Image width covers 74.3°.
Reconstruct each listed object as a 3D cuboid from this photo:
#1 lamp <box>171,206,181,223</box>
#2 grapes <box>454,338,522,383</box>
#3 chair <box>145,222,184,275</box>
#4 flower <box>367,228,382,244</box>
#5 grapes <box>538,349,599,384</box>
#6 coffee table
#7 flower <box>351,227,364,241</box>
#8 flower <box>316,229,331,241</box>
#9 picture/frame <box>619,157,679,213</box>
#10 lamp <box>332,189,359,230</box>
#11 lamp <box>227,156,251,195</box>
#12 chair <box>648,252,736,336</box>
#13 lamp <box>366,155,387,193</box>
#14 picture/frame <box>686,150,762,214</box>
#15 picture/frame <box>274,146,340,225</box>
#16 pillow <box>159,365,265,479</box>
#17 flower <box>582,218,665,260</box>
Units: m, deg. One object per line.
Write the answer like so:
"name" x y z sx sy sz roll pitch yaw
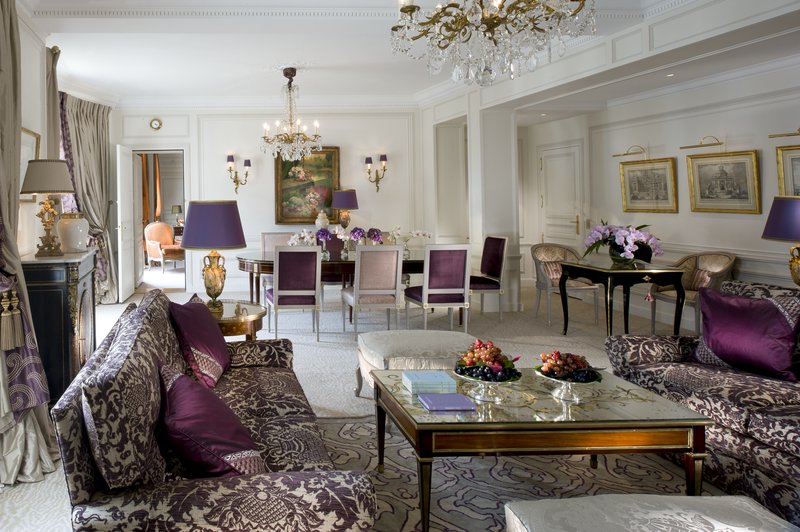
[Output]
"lamp" -5.670 -1.346 13.533 0.234 0.458 0.752 -4 6 -23
"grapes" 0.585 0.572 3.294 0.298 0.147 0.295 -1 -9 36
"chair" -5.371 -0.450 12.004 0.745 1.112 1.957 -4 6 -26
"flower" -0.315 -0.390 6.889 0.256 0.109 0.250 1 -8 1
"grapes" 1.021 0.606 3.154 0.252 0.096 0.252 5 3 22
"coffee table" 0.834 0.874 3.059 1.131 0.466 1.095 1 1 -6
"flower" -0.555 -0.422 6.992 0.166 0.183 0.299 -2 6 -6
"flower" -1.005 -0.417 6.995 0.164 0.117 0.160 0 -2 -27
"picture/frame" 3.471 -1.126 7.281 0.036 0.604 0.881 -6 6 -21
"lamp" -0.920 -1.004 9.009 0.403 0.644 0.890 -2 6 -6
"lamp" -2.781 -1.612 9.207 0.393 0.688 0.136 -3 6 -16
"chair" 3.550 0.313 6.610 1.077 1.186 0.986 -2 4 -29
"lamp" -0.400 -1.646 9.357 0.405 0.635 0.113 -1 6 -2
"picture/frame" 3.889 -1.013 6.273 0.036 0.653 0.857 -5 6 -19
"picture/frame" -1.612 -1.447 9.091 1.610 1.762 0.126 0 1 -7
"pillow" -0.836 0.688 2.415 0.132 0.447 0.420 -35 30 -2
"flower" 2.550 -0.275 5.907 0.623 0.271 0.628 9 10 44
